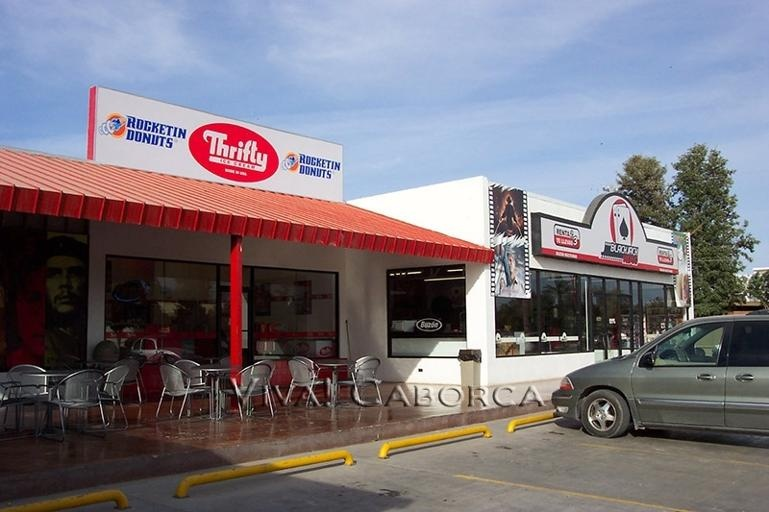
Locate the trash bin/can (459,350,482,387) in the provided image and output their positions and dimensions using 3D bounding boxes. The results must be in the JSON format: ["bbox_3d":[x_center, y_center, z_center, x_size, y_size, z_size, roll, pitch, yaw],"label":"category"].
[{"bbox_3d":[2.146,2.835,15.941,0.528,0.980,1.645,1,-1,7],"label":"trash bin/can"}]
